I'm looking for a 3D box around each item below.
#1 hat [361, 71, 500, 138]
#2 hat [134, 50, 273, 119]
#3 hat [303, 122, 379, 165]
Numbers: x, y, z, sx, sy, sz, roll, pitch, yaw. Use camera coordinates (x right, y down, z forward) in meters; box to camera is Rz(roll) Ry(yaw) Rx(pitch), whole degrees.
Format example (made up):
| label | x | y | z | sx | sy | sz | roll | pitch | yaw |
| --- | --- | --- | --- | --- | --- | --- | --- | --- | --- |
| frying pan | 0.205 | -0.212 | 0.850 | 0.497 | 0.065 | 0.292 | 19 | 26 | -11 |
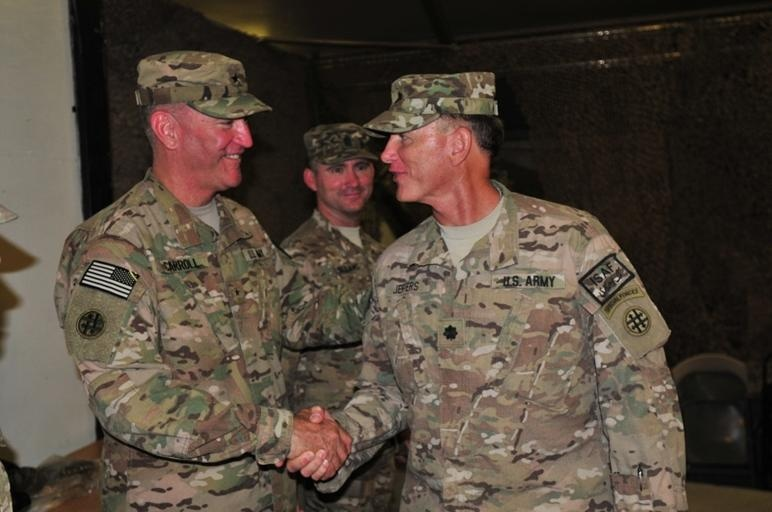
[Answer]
| label | x | y | z | sx | sy | sz | roll | pitch | yaw |
| --- | --- | --- | --- | --- | --- | --- | --- | --- | --- |
| hat | 0.202 | -0.778 | 4.662 | 0.687 | 0.235 | 0.433 | -2 | 16 | -4 |
| hat | -0.923 | -0.905 | 4.901 | 0.683 | 0.261 | 0.474 | 8 | 21 | 13 |
| hat | -0.286 | -0.718 | 5.990 | 0.435 | 0.230 | 0.516 | -9 | 11 | -20 |
